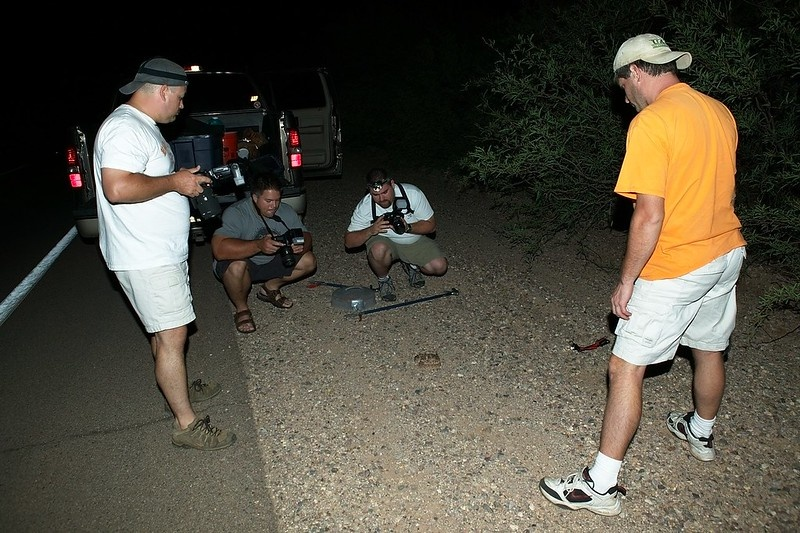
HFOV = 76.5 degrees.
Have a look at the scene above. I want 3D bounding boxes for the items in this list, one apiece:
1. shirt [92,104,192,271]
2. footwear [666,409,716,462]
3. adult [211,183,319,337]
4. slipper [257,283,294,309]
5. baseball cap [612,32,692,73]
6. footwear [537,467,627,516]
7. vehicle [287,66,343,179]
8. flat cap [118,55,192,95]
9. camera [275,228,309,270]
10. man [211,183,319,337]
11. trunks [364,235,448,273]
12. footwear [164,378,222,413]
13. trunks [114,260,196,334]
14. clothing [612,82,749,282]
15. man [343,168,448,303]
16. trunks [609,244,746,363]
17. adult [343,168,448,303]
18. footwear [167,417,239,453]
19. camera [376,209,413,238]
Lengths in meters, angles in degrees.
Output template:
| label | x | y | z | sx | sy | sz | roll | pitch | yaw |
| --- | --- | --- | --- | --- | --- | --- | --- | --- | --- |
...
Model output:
| label | x | y | z | sx | sy | sz | roll | pitch | yaw |
| --- | --- | --- | --- | --- | --- | --- | --- | --- | --- |
| shirt | -2.055 | -0.657 | 3.950 | 0.701 | 1.172 | 1.225 | 0 | 20 | -29 |
| footwear | 2.215 | 1.273 | 3.938 | 0.187 | 0.203 | 0.450 | -11 | 28 | 6 |
| adult | -1.514 | -0.228 | 5.496 | 1.105 | 1.497 | 1.114 | 22 | 26 | 28 |
| slipper | -1.381 | 0.354 | 5.690 | 0.446 | 0.179 | 0.191 | 21 | 25 | 3 |
| baseball cap | 1.699 | -1.447 | 3.449 | 0.350 | 0.237 | 0.514 | -10 | 11 | -38 |
| footwear | 1.262 | 1.561 | 3.544 | 0.580 | 0.237 | 0.201 | 3 | 10 | 22 |
| vehicle | -1.338 | -2.356 | 8.552 | 1.012 | 1.591 | 0.916 | -3 | -5 | -7 |
| flat cap | -1.813 | -1.435 | 3.792 | 0.526 | 0.252 | 0.347 | -7 | 20 | -33 |
| camera | -1.193 | -0.188 | 5.367 | 0.383 | 0.360 | 0.217 | -3 | -9 | -40 |
| man | -1.528 | -0.232 | 5.501 | 1.047 | 1.495 | 1.154 | 22 | 26 | 31 |
| trunks | 0.095 | -0.145 | 5.885 | 0.579 | 0.274 | 0.612 | 0 | 15 | -3 |
| footwear | -1.822 | 1.092 | 4.453 | 0.541 | 0.213 | 0.173 | -9 | 32 | -13 |
| trunks | -1.964 | 0.260 | 4.036 | 0.442 | 0.598 | 0.672 | -27 | 19 | -38 |
| clothing | 1.972 | -0.549 | 3.470 | 1.188 | 1.207 | 0.556 | -19 | 20 | -24 |
| man | -0.094 | -0.393 | 5.916 | 1.165 | 1.487 | 0.897 | -7 | 22 | 2 |
| trunks | 1.917 | 0.270 | 3.489 | 1.003 | 0.868 | 0.503 | -4 | 27 | -27 |
| adult | -0.097 | -0.392 | 5.901 | 1.135 | 1.507 | 0.919 | -9 | 22 | -4 |
| footwear | -1.540 | 1.321 | 4.055 | 0.571 | 0.253 | 0.210 | 2 | 12 | -8 |
| camera | -0.029 | -0.497 | 5.607 | 0.386 | 0.211 | 0.256 | -3 | 39 | -14 |
